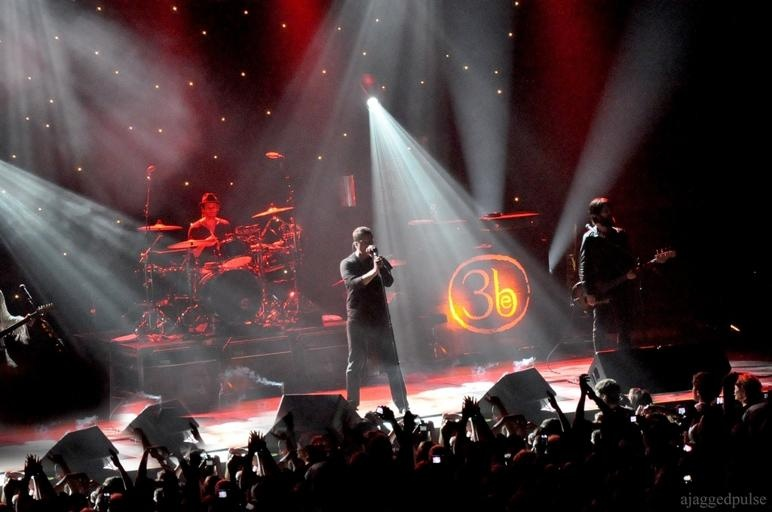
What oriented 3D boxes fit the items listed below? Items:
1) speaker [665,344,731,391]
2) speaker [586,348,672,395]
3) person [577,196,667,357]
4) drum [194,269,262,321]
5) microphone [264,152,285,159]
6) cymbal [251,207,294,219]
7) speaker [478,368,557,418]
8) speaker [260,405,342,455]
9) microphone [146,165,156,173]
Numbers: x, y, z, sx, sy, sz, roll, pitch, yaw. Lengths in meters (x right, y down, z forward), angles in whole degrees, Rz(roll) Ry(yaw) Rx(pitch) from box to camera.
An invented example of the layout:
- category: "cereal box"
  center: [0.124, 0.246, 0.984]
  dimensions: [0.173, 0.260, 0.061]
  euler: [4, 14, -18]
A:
- category: "speaker"
  center: [3.611, 1.273, 6.887]
  dimensions: [0.493, 0.543, 0.871]
  euler: [11, -14, -18]
- category: "speaker"
  center: [2.616, 1.237, 6.821]
  dimensions: [0.817, 0.401, 0.535]
  euler: [1, -14, -14]
- category: "person"
  center: [2.637, 0.250, 7.479]
  dimensions: [0.932, 1.759, 0.815]
  euler: [-32, -34, 33]
- category: "drum"
  center: [-2.234, 0.602, 9.161]
  dimensions: [0.776, 0.734, 0.781]
  euler: [2, 18, 35]
- category: "microphone"
  center: [-1.874, -1.673, 10.453]
  dimensions: [0.171, 0.089, 0.446]
  euler: [-10, 1, 23]
- category: "cymbal"
  center: [-1.933, -0.714, 10.373]
  dimensions: [1.110, 0.175, 0.200]
  euler: [-2, 8, 44]
- category: "speaker"
  center: [1.314, 1.421, 6.430]
  dimensions: [0.631, 0.354, 0.618]
  euler: [-3, -11, -14]
- category: "speaker"
  center: [-0.840, 1.690, 6.091]
  dimensions: [0.681, 0.307, 0.643]
  euler: [3, -14, -27]
- category: "microphone"
  center: [-3.758, -1.379, 9.871]
  dimensions: [0.156, 0.035, 0.151]
  euler: [1, -15, -7]
